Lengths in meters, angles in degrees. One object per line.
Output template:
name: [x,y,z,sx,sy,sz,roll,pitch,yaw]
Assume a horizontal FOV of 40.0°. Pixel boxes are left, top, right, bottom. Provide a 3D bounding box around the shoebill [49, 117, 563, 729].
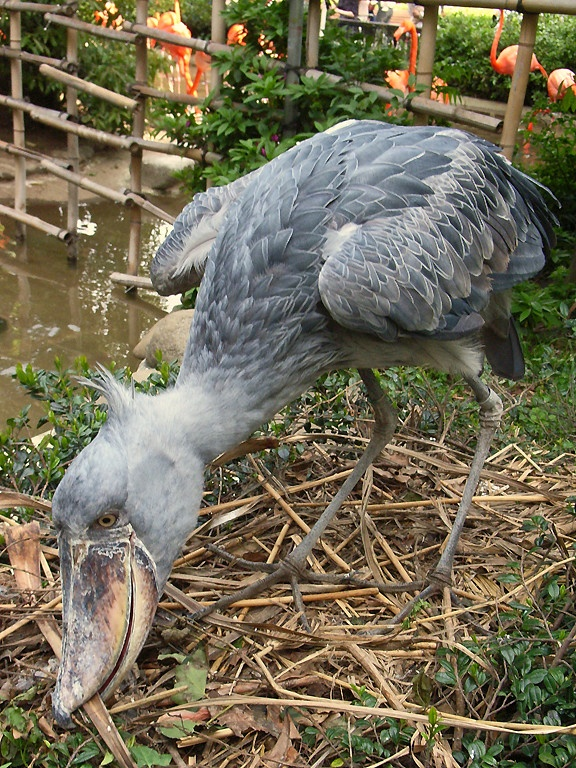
shoebill: [-0.082,-0.095,1.929,0.731,1.120,1.503,24,25,36]
